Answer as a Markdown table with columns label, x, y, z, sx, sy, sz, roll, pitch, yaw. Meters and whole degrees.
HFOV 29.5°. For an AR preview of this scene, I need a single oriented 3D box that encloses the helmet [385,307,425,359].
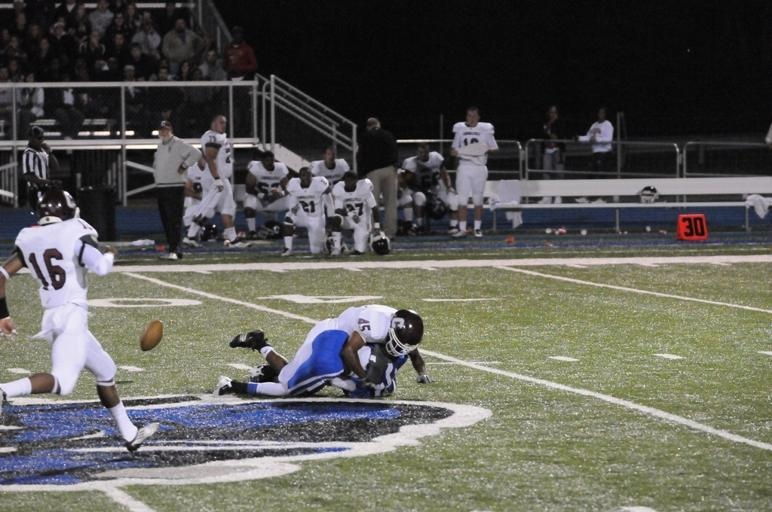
| label | x | y | z | sx | sy | sz | roll | pitch | yaw |
| --- | --- | --- | --- | --- | --- | --- | --- | --- | --- |
| helmet | 0.249 | 0.909 | 16.658 | 0.426 | 0.493 | 0.525 | 31 | -24 | -34 |

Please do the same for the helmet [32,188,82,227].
| label | x | y | z | sx | sy | sz | roll | pitch | yaw |
| --- | --- | --- | --- | --- | --- | --- | --- | --- | --- |
| helmet | -3.627 | -0.566 | 16.017 | 0.447 | 0.418 | 0.507 | 2 | 8 | -1 |

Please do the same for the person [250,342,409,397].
| label | x | y | z | sx | sy | sz | roll | pitch | yaw |
| --- | --- | --- | --- | --- | --- | --- | --- | --- | --- |
| person | -0.678 | 1.261 | 16.856 | 1.418 | 0.466 | 0.795 | -1 | -7 | 17 |

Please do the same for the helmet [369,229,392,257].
| label | x | y | z | sx | sy | sz | roll | pitch | yaw |
| --- | --- | --- | --- | --- | --- | --- | --- | --- | --- |
| helmet | -0.121 | -0.225 | 24.924 | 0.336 | 0.406 | 0.157 | -6 | -11 | -16 |

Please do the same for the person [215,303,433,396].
| label | x | y | z | sx | sy | sz | roll | pitch | yaw |
| --- | --- | --- | --- | --- | --- | --- | --- | --- | --- |
| person | -0.744 | 1.062 | 16.869 | 2.212 | 0.802 | 1.102 | -2 | 2 | 26 |

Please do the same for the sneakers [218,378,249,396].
| label | x | y | z | sx | sy | sz | roll | pitch | yaw |
| --- | --- | --- | --- | --- | --- | --- | --- | --- | --- |
| sneakers | -1.776 | 1.509 | 16.948 | 0.330 | 0.151 | 0.187 | 5 | 11 | 3 |

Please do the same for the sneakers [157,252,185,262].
| label | x | y | z | sx | sy | sz | roll | pitch | yaw |
| --- | --- | --- | --- | --- | --- | --- | --- | --- | --- |
| sneakers | -3.601 | 0.004 | 24.331 | 0.394 | 0.149 | 0.140 | 5 | 16 | 17 |

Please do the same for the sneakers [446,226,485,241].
| label | x | y | z | sx | sy | sz | roll | pitch | yaw |
| --- | --- | --- | --- | --- | --- | --- | --- | --- | --- |
| sneakers | 1.445 | -0.421 | 27.213 | 0.648 | 0.226 | 0.222 | 2 | 22 | -4 |

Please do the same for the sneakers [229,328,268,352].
| label | x | y | z | sx | sy | sz | roll | pitch | yaw |
| --- | --- | --- | --- | --- | --- | --- | --- | --- | --- |
| sneakers | -1.607 | 0.986 | 17.189 | 0.404 | 0.152 | 0.237 | 1 | 9 | 12 |

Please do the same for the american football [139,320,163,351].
| label | x | y | z | sx | sy | sz | roll | pitch | yaw |
| --- | --- | --- | --- | --- | --- | --- | --- | --- | --- |
| american football | -2.646 | 0.836 | 16.003 | 0.096 | 0.315 | 0.317 | 32 | -13 | 31 |
